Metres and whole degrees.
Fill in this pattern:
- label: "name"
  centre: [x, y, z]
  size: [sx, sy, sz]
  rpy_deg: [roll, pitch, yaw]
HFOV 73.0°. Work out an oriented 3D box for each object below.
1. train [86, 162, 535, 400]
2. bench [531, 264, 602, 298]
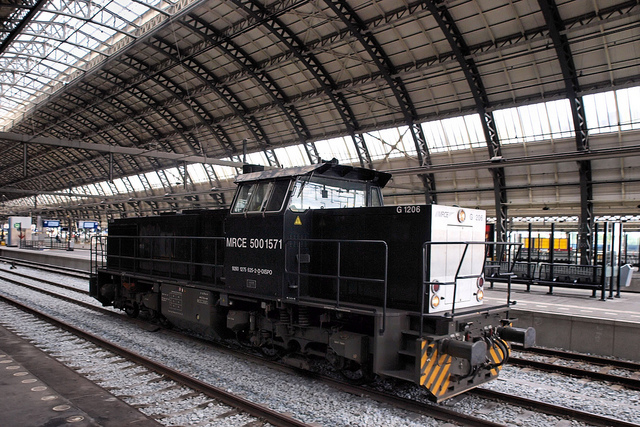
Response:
- label: "train"
  centre: [0.141, 1.993, 12.664]
  size: [9.721, 2.771, 2.729]
  rpy_deg: [2, -4, 34]
- label: "bench"
  centre: [10.343, 2.772, 17.973]
  size: [2.425, 1.267, 1.852]
  rpy_deg: [-2, -7, 33]
